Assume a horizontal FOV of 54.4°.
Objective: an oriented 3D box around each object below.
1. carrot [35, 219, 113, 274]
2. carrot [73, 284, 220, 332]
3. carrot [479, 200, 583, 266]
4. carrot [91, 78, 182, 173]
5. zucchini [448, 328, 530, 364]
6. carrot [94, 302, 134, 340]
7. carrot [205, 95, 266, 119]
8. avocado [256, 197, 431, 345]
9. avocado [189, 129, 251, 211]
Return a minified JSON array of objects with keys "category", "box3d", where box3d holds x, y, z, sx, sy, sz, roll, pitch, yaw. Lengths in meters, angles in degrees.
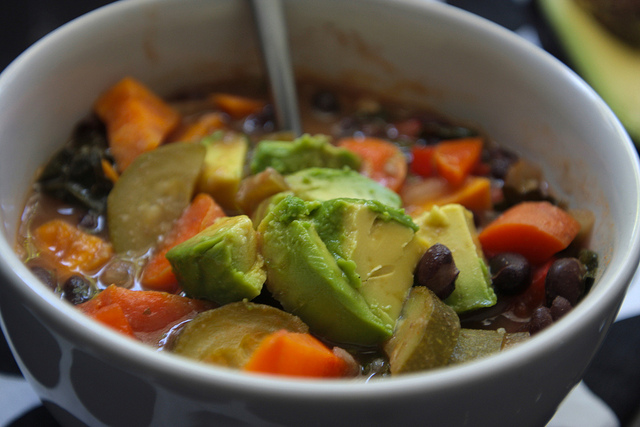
[{"category":"carrot","box3d":[-0.486,0.062,1.220,0.109,0.032,0.111,-2,77,-11]},{"category":"carrot","box3d":[-0.313,0.177,1.151,0.086,0.304,0.077,10,83,37]},{"category":"carrot","box3d":[0.435,0.035,1.281,0.214,0.115,0.115,2,39,47]},{"category":"carrot","box3d":[-0.409,-0.214,1.426,0.171,0.181,0.336,-7,30,-4]},{"category":"zucchini","box3d":[0.272,0.220,1.025,0.077,0.036,0.094,-12,12,0]},{"category":"carrot","box3d":[-0.351,0.182,1.090,0.051,0.090,0.070,5,79,19]},{"category":"carrot","box3d":[-0.206,-0.260,1.502,0.117,0.062,0.040,4,10,-10]},{"category":"avocado","box3d":[0.039,0.083,1.105,0.260,0.112,0.269,0,65,-17]},{"category":"avocado","box3d":[-0.214,-0.115,1.366,0.118,0.141,0.211,-13,25,-7]}]
